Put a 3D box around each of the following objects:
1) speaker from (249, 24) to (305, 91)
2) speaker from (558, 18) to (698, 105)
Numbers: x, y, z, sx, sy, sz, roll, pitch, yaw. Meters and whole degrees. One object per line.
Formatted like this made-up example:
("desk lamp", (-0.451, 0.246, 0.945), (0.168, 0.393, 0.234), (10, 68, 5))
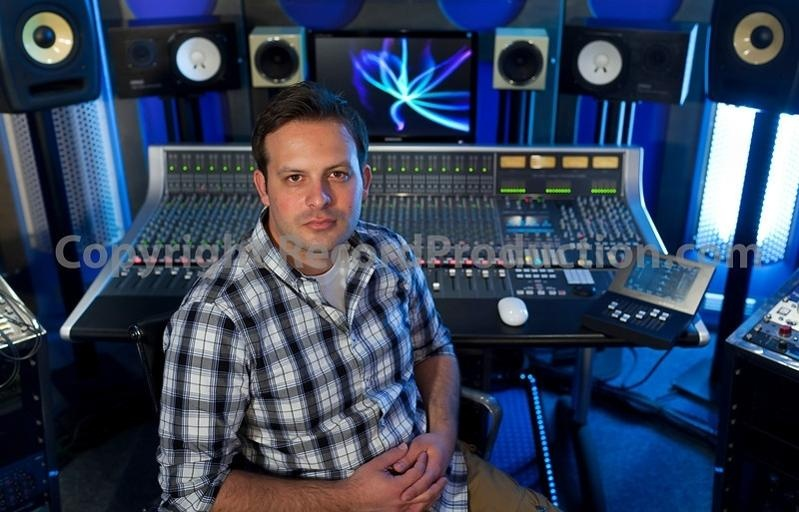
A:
("speaker", (-0.669, -1.060, 2.974), (0.279, 0.252, 0.198), (-9, 33, -18))
("speaker", (1.189, -1.055, 2.895), (0.600, 0.362, 0.327), (16, 48, 28))
